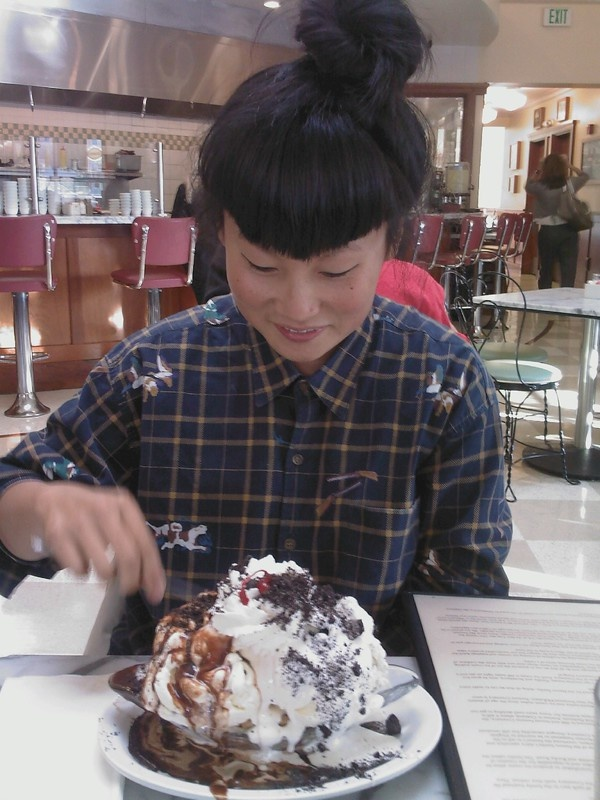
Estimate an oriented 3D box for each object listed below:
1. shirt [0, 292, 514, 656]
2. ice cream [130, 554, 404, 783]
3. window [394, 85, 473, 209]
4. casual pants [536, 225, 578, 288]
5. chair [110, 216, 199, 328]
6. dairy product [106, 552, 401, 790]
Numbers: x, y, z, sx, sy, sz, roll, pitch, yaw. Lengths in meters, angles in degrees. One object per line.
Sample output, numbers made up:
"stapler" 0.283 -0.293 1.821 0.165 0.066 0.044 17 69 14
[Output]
"shirt" -0.123 0.115 1.139 0.813 0.728 0.453 3 5 6
"ice cream" -0.026 0.214 0.586 0.198 0.117 0.172 -1 10 14
"window" 1.533 -3.044 8.403 1.037 1.242 0.979 -2 15 14
"casual pants" 3.203 -1.785 8.513 0.472 0.931 0.298 0 37 17
"chair" -0.914 -0.685 4.230 0.525 0.837 0.492 -2 19 -16
"dairy product" -0.045 0.206 0.547 0.173 0.097 0.138 3 7 -11
